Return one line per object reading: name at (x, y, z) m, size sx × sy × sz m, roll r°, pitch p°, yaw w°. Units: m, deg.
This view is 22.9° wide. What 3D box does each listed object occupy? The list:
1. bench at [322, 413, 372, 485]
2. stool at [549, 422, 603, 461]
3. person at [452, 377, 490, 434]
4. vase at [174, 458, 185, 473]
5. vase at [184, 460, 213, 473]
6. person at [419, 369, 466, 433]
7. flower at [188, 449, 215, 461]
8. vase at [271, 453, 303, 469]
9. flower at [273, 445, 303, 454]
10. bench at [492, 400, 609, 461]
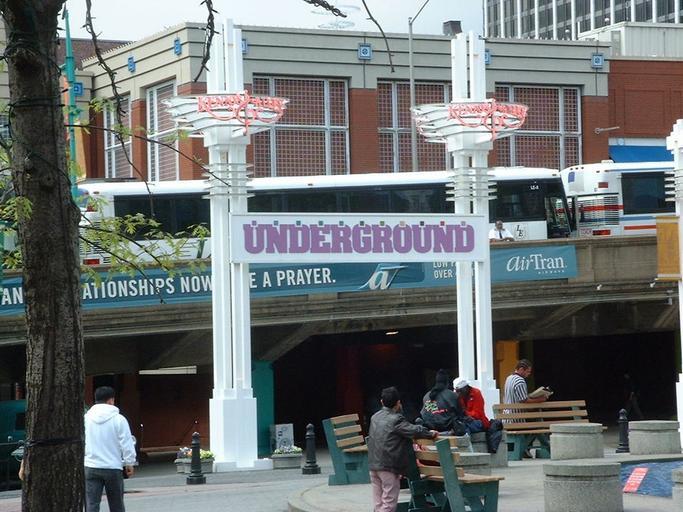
bench at (0.122, 4.060, 35.406) m, size 0.984 × 1.345 × 1.029 m, roll 3°, pitch -1°, yaw -42°
stool at (5.136, 3.982, 35.909) m, size 1.221 × 0.751 × 1.068 m, roll -2°, pitch 0°, yaw -4°
person at (2.820, 3.202, 35.896) m, size 0.722 × 1.081 × 0.742 m, roll 0°, pitch 0°, yaw -14°
vase at (-3.716, 4.895, 39.237) m, size 0.444 × 0.326 × 0.357 m, roll 0°, pitch -8°, yaw -3°
vase at (-3.190, 4.761, 38.087) m, size 0.579 × 0.229 × 0.546 m, roll 0°, pitch -2°, yaw 8°
person at (2.119, 3.057, 35.399) m, size 0.715 × 1.321 × 0.917 m, roll -2°, pitch 0°, yaw -13°
flower at (-3.164, 4.595, 38.683) m, size 0.214 × 0.225 × 0.615 m, roll -7°, pitch -4°, yaw 38°
vase at (-1.257, 4.811, 39.521) m, size 0.737 × 0.344 × 0.396 m, roll -4°, pitch -3°, yaw -13°
flower at (-1.268, 4.601, 39.821) m, size 0.678 × 0.116 × 0.543 m, roll -4°, pitch -3°, yaw -8°
bench at (4.553, 3.886, 38.639) m, size 2.330 × 1.338 × 2.561 m, roll -2°, pitch -2°, yaw -28°
